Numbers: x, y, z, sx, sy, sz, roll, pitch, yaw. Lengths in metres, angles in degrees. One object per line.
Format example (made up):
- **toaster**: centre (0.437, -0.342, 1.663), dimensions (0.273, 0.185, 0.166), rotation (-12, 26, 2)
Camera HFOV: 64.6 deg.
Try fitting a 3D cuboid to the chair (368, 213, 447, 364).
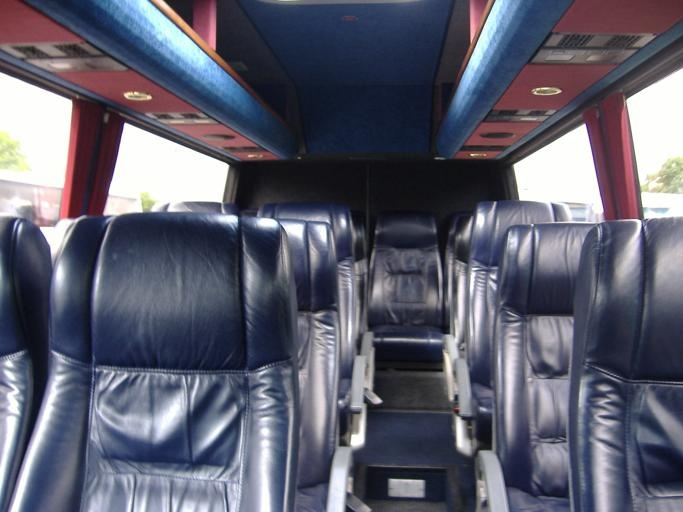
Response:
- **chair**: centre (0.580, 0.249, 4.735), dimensions (0.687, 1.030, 0.572), rotation (2, -1, 3)
